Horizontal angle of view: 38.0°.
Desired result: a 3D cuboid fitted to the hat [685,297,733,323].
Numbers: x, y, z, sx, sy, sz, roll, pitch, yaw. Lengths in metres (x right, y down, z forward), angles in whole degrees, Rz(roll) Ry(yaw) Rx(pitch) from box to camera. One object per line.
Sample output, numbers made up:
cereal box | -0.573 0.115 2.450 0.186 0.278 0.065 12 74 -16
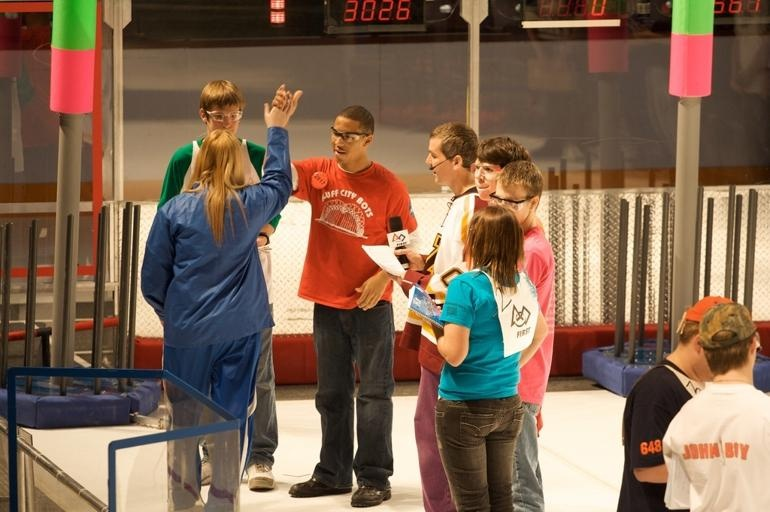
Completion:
hat | 1.827 0.291 6.340 0.207 0.119 0.148 -5 3 -13

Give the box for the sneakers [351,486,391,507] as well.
sneakers | -0.108 1.695 7.864 0.245 0.119 0.117 5 -3 -35

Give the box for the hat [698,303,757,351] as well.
hat | 1.987 0.384 6.304 0.316 0.247 0.514 -4 1 18

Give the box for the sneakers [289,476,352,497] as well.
sneakers | -0.463 1.665 8.028 0.432 0.162 0.146 4 -4 -12

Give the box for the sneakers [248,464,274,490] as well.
sneakers | -0.899 1.591 8.020 0.137 0.145 0.345 1 -10 -6

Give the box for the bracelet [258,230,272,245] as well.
bracelet | -0.863 -0.132 7.991 0.081 0.078 0.088 -4 16 -12
